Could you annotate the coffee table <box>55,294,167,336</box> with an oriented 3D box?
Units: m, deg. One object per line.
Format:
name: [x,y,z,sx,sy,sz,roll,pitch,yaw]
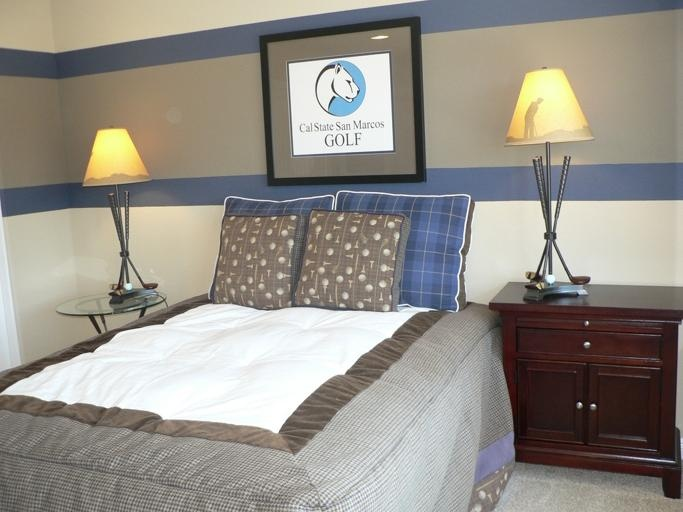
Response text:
coffee table: [-1.457,0.319,3.309,0.449,0.293,0.444,0,7,-12]

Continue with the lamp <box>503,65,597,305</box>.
lamp: [1.109,-0.403,2.717,0.490,1.227,0.418,-3,8,-45]
